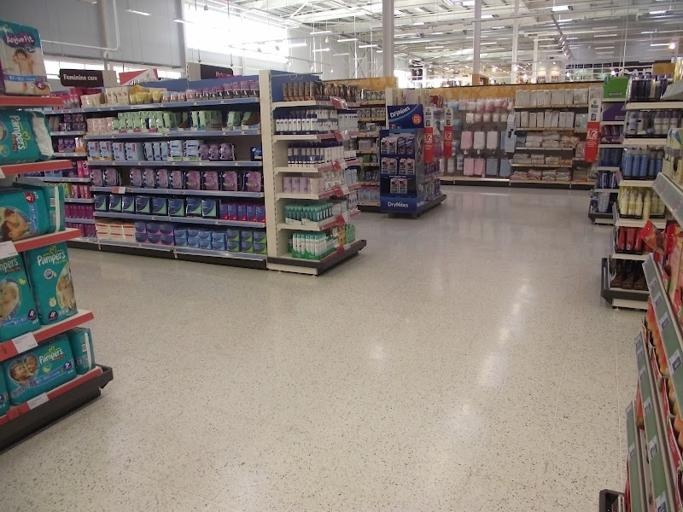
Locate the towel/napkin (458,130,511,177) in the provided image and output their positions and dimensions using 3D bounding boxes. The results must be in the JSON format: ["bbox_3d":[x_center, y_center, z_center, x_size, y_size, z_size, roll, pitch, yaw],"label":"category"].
[{"bbox_3d":[3.968,-2.864,12.641,1.183,1.143,0.665,4,9,31],"label":"towel/napkin"}]

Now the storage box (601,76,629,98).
[{"bbox_3d":[4.542,-2.800,7.685,0.337,0.326,0.487,7,22,27],"label":"storage box"}]

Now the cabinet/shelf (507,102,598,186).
[{"bbox_3d":[5.153,-2.937,12.285,2.451,2.464,0.889,4,-4,-10],"label":"cabinet/shelf"}]

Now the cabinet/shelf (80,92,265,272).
[{"bbox_3d":[-2.411,-1.095,6.889,2.737,2.159,0.933,2,12,3],"label":"cabinet/shelf"}]

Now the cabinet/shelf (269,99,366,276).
[{"bbox_3d":[-0.362,-0.862,5.906,0.823,2.259,1.918,4,15,17],"label":"cabinet/shelf"}]
